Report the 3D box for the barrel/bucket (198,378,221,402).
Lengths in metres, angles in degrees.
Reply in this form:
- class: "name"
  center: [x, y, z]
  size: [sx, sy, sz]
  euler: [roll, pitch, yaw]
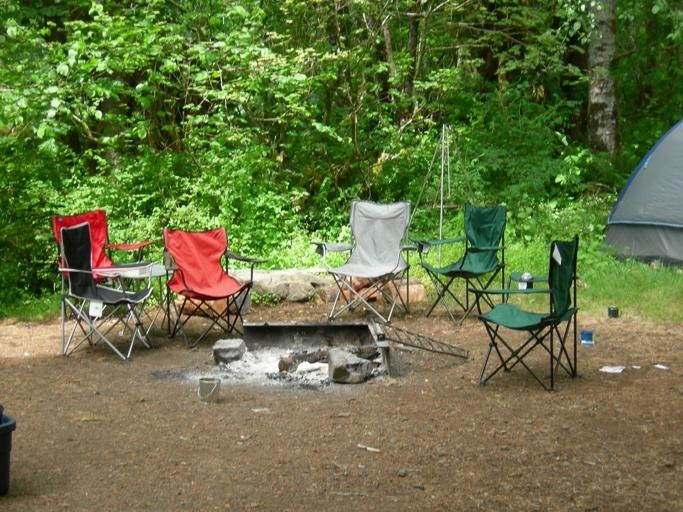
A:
- class: "barrel/bucket"
  center: [-1.126, 1.127, 7.086]
  size: [0.156, 0.146, 0.177]
  euler: [1, -4, 33]
